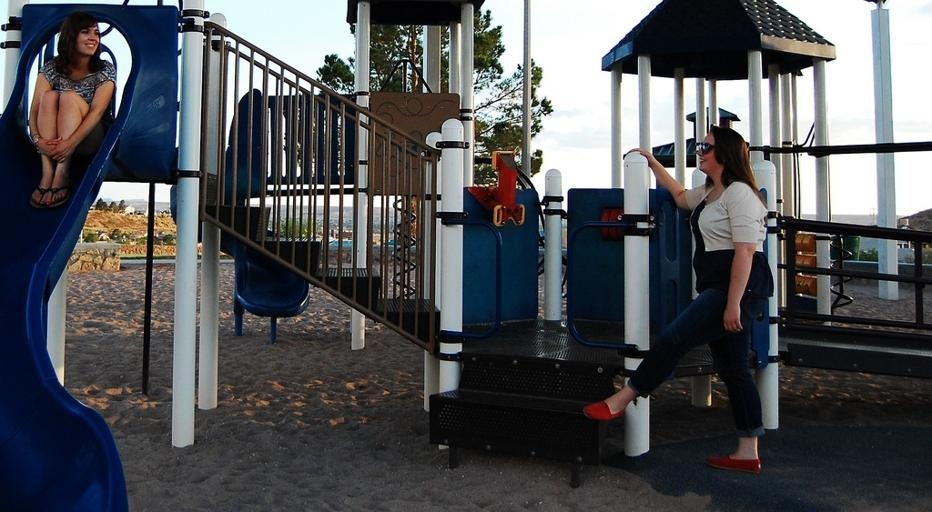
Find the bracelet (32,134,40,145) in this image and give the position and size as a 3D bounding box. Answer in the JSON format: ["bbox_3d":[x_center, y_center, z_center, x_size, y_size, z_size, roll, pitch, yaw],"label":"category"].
[{"bbox_3d":[-5.116,-1.395,9.143,0.093,0.121,0.042,-1,0,-1],"label":"bracelet"}]

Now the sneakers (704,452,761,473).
[{"bbox_3d":[3.096,2.388,8.884,0.607,0.187,0.219,4,1,16],"label":"sneakers"}]

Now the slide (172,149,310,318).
[{"bbox_3d":[-3.381,-0.274,12.868,1.327,2.914,1.308,-4,14,-17],"label":"slide"}]
